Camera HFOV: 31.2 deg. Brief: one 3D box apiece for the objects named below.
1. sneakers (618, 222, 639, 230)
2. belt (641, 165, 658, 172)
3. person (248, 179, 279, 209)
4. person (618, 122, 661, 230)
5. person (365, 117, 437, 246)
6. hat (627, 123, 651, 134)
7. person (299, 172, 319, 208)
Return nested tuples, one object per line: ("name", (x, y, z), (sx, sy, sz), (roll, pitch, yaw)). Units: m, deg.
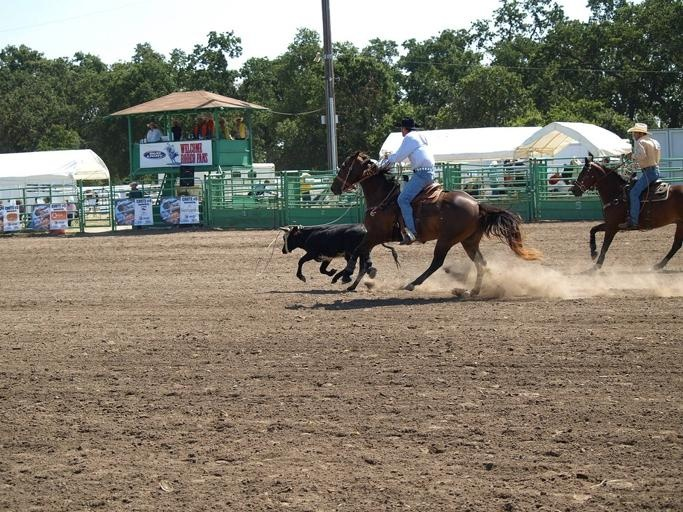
("sneakers", (6.850, -0.730, 29.124), (0.520, 0.204, 0.164), (4, -1, 7))
("belt", (7.305, -2.109, 28.882), (0.385, 0.099, 0.339), (0, 5, 4))
("person", (-2.571, -2.055, 40.342), (0.854, 0.303, 1.114), (-2, 19, -5))
("person", (7.169, -1.887, 29.174), (0.835, 2.582, 1.532), (0, 5, 13))
("person", (1.523, -1.698, 27.473), (1.044, 2.814, 0.782), (0, 5, 13))
("hat", (7.023, -3.019, 28.806), (0.379, 0.226, 0.502), (0, 5, 9))
("person", (-1.036, -2.227, 39.534), (0.634, 1.015, 1.122), (-1, 5, -2))
